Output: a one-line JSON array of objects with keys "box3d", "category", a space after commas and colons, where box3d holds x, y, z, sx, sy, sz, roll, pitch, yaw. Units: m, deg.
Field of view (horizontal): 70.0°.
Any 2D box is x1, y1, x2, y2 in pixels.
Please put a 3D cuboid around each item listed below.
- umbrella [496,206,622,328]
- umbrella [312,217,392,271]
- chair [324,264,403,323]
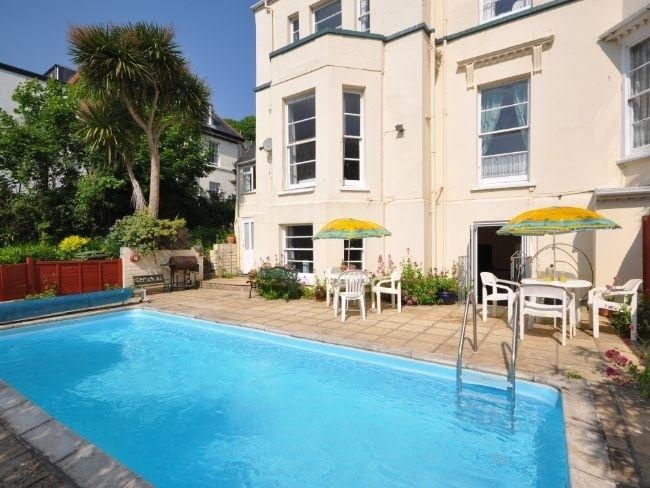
[{"box3d": [5.910, 0.576, 11.543, 2.619, 1.917, 2.784, 0, 3, 25], "category": "umbrella"}, {"box3d": [0.795, -0.069, 13.129, 1.566, 1.148, 1.640, -1, -1, 6], "category": "umbrella"}, {"box3d": [1.168, 1.349, 13.160, 2.253, 1.317, 2.319, 0, -1, -5], "category": "chair"}]
